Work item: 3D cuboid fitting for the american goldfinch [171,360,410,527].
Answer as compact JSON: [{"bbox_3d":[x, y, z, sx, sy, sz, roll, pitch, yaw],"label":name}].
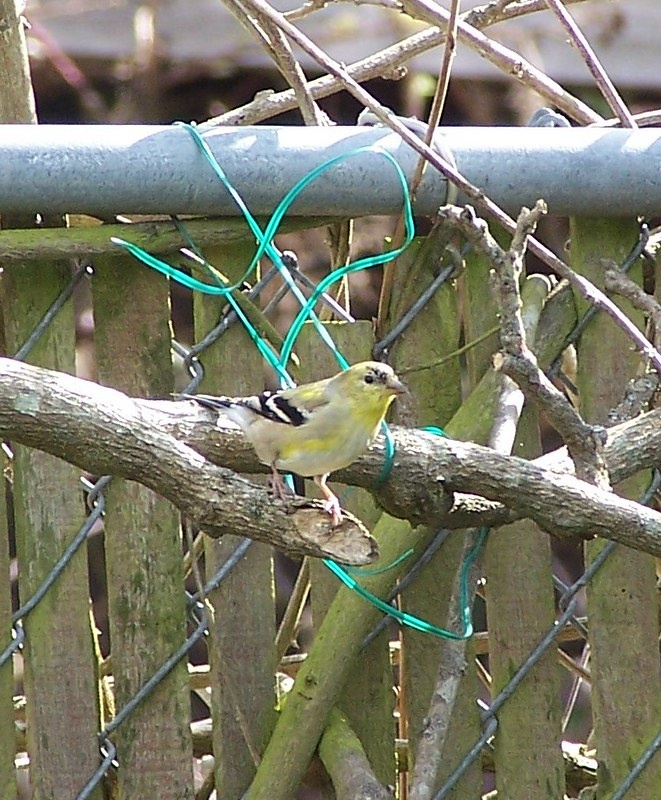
[{"bbox_3d":[-0.111,0.046,3.816,0.488,0.343,0.159,14,8,24],"label":"american goldfinch"}]
